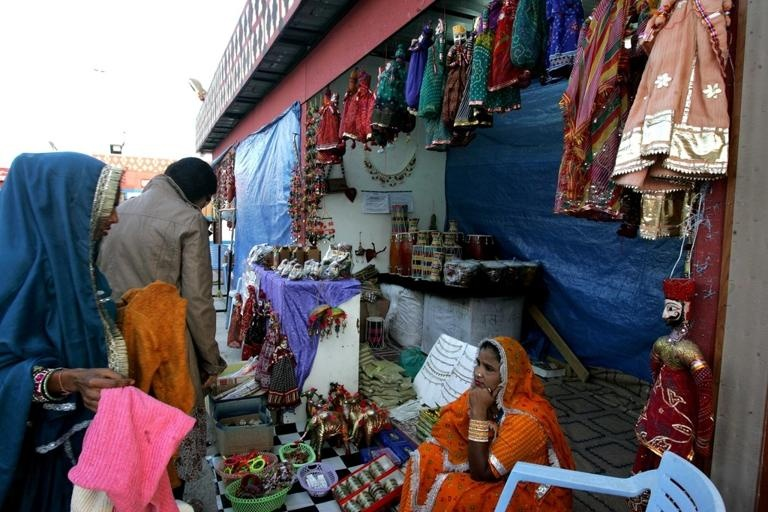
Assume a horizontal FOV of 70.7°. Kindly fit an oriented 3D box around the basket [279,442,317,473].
[{"bbox_3d":[-0.659,1.525,4.163,0.178,0.053,0.180,5,16,-19],"label":"basket"}]

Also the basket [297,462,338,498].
[{"bbox_3d":[-0.480,1.595,3.880,0.263,0.094,0.304,0,16,-16],"label":"basket"}]

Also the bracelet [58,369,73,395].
[{"bbox_3d":[-1.435,0.561,2.416,0.036,0.093,0.071,-4,7,-39],"label":"bracelet"}]

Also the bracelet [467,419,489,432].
[{"bbox_3d":[0.552,0.960,3.030,0.080,0.075,0.080,2,-1,-2],"label":"bracelet"}]

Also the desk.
[{"bbox_3d":[-0.888,0.660,5.160,0.989,1.250,1.742,1,-3,-23],"label":"desk"}]
